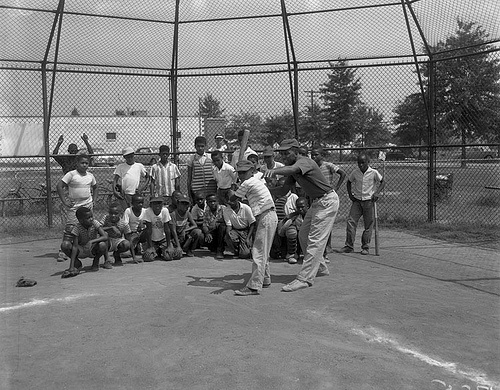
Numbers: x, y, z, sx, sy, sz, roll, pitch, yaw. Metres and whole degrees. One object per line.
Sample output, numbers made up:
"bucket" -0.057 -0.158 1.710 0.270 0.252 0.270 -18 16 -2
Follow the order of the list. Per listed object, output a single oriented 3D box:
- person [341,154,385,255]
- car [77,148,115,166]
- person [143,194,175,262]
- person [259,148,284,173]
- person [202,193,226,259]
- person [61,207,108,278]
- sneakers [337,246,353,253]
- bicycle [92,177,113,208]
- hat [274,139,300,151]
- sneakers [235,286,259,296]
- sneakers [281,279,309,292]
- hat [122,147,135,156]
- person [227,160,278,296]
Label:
"person" 2.461 0.162 9.303 0.827 2.079 0.973 1 5 18
"car" -4.691 -1.132 13.000 0.802 0.631 1.736 -3 3 -34
"person" -1.845 0.656 8.596 0.603 1.258 0.495 0 5 7
"person" 0.393 -0.774 9.498 0.411 0.406 0.719 -20 9 13
"person" -0.731 0.622 9.018 0.454 1.270 0.668 -3 6 -37
"person" -3.006 0.759 7.691 0.848 1.113 0.879 -4 6 -39
"sneakers" 2.034 1.153 9.220 0.331 0.154 0.140 4 -1 3
"bicycle" -4.223 -0.040 12.216 0.208 0.891 0.893 13 8 20
"hat" 0.589 -0.756 6.479 0.174 0.103 0.262 -5 8 37
"sneakers" -0.068 1.384 6.295 0.362 0.158 0.134 5 -9 -10
"sneakers" 0.677 1.346 6.494 0.446 0.205 0.157 3 -2 -10
"hat" -2.732 -0.962 9.519 0.242 0.194 0.253 -1 5 -9
"person" 0.076 0.467 6.324 0.629 1.921 0.423 0 4 -2
